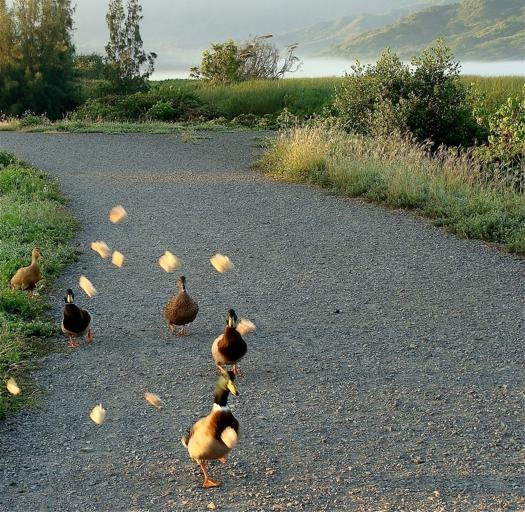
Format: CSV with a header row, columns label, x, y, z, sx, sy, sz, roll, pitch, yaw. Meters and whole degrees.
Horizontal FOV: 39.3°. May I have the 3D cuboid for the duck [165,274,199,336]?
label,x,y,z,sx,sy,sz,roll,pitch,yaw
duck,-0.880,0.484,7.878,0.392,0.608,0.710,2,9,-16

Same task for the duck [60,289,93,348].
label,x,y,z,sx,sy,sz,roll,pitch,yaw
duck,-1.896,0.625,7.532,0.327,0.648,0.749,-8,8,-10

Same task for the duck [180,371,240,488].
label,x,y,z,sx,sy,sz,roll,pitch,yaw
duck,-0.364,1.246,5.413,0.364,0.799,0.865,-2,-8,-33

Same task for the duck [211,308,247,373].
label,x,y,z,sx,sy,sz,roll,pitch,yaw
duck,-0.315,0.759,6.885,0.337,0.641,0.608,-3,10,-13

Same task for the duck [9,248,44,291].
label,x,y,z,sx,sy,sz,roll,pitch,yaw
duck,-2.739,0.159,8.577,0.383,0.524,0.319,-9,17,-30
